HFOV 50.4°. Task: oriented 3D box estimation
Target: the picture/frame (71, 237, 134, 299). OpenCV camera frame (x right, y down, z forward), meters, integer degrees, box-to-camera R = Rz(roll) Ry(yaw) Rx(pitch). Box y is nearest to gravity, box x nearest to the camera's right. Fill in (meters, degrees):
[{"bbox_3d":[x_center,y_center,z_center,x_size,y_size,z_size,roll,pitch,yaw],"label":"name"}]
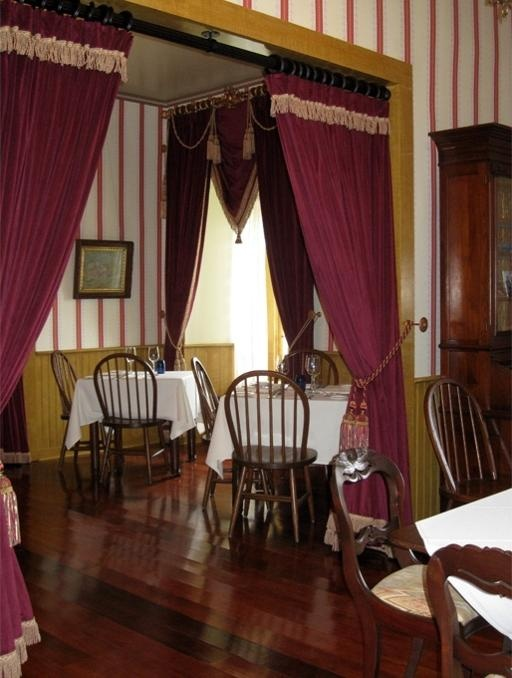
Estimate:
[{"bbox_3d":[-1.589,-0.725,5.550,0.042,0.748,0.552,3,5,38],"label":"picture/frame"}]
